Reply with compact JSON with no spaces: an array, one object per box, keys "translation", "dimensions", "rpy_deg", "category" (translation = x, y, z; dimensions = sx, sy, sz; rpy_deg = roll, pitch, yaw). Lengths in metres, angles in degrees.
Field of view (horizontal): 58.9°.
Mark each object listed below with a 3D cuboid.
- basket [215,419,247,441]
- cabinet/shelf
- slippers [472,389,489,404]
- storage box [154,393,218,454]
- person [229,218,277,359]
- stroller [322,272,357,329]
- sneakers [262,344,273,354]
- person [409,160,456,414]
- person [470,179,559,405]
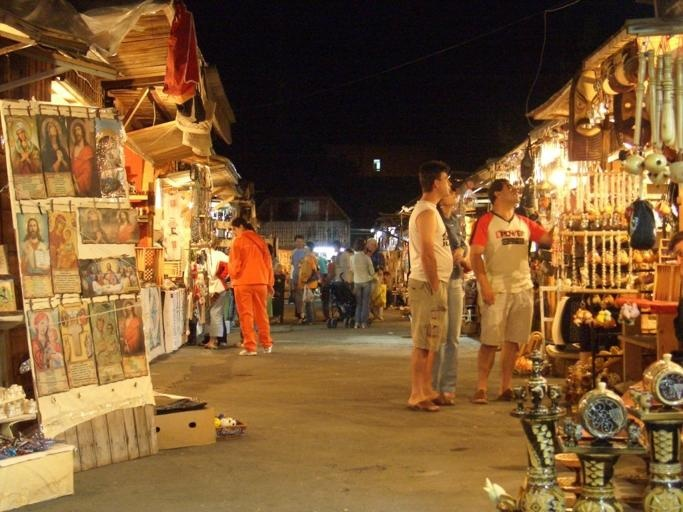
[{"translation":[-0.958,1.501,5.279],"dimensions":[0.257,0.180,0.190],"rpy_deg":[0,0,-11],"category":"basket"},{"translation":[2.912,0.848,5.802],"dimensions":[0.472,0.850,2.157],"rpy_deg":[0,-1,24],"category":"cabinet/shelf"},{"translation":[1.471,1.476,6.375],"dimensions":[0.160,0.158,0.148],"rpy_deg":[0,0,12],"category":"slippers"},{"translation":[-1.363,1.431,5.297],"dimensions":[0.515,0.434,0.615],"rpy_deg":[1,0,-17],"category":"storage box"},{"translation":[-1.499,0.493,10.057],"dimensions":[0.720,2.220,1.056],"rpy_deg":[0,0,-8],"category":"person"},{"translation":[0.028,1.246,16.357],"dimensions":[1.132,1.406,0.999],"rpy_deg":[-1,0,5],"category":"stroller"},{"translation":[-1.225,1.557,10.129],"dimensions":[0.097,0.136,0.193],"rpy_deg":[4,6,2],"category":"sneakers"},{"translation":[0.902,0.286,6.203],"dimensions":[0.421,2.523,0.455],"rpy_deg":[0,0,17],"category":"person"},{"translation":[1.751,0.360,6.465],"dimensions":[0.861,2.393,0.378],"rpy_deg":[0,0,-25],"category":"person"}]
